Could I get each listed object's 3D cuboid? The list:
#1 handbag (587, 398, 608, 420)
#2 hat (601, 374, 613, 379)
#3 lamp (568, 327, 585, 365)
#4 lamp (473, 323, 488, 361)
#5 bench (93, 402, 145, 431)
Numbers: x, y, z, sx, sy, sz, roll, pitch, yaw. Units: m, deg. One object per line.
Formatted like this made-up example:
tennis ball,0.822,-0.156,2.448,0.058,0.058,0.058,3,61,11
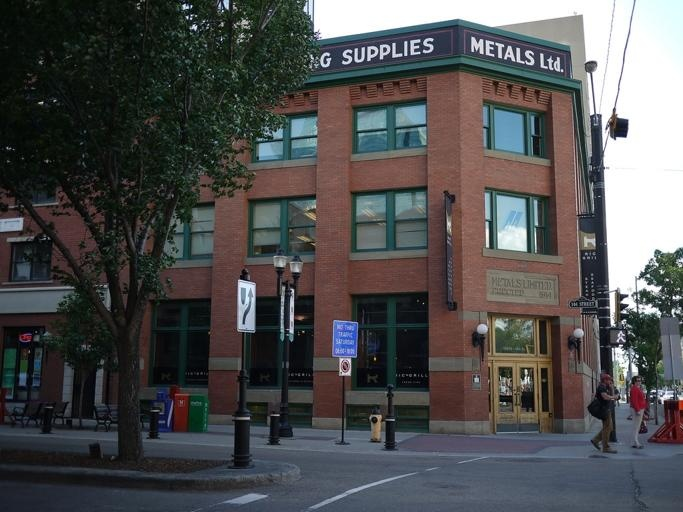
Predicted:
handbag,7.091,4.210,19.899,0.365,0.638,0.613,1,-15,-8
hat,7.579,3.473,20.649,0.241,0.186,0.311,-4,-7,2
lamp,8.493,3.158,25.825,0.534,1.313,0.890,-13,-19,40
lamp,4.794,2.868,24.534,0.606,1.299,0.586,5,-16,-22
bench,-7.893,5.770,25.782,1.750,1.027,3.644,3,-16,-15
